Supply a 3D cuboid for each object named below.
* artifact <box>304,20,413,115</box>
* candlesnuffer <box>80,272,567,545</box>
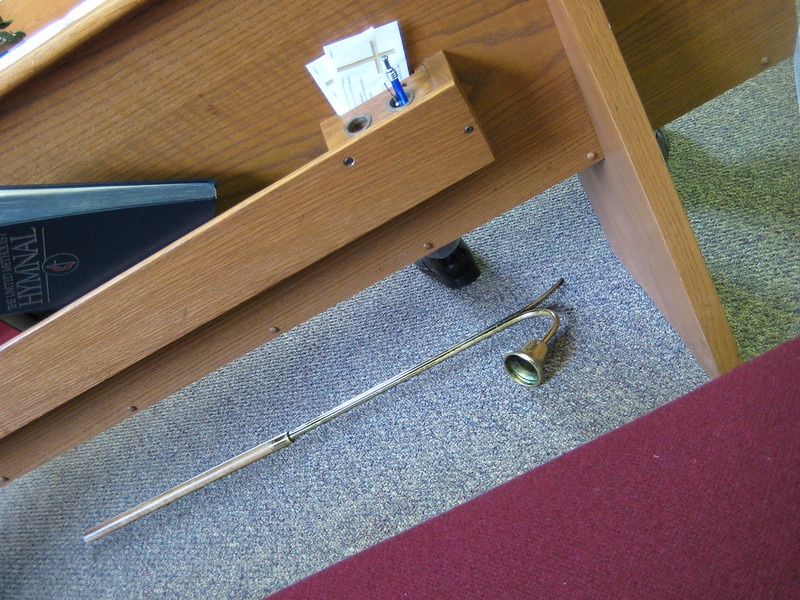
[{"bbox_3d":[-0.060,-0.367,0.986,0.172,0.101,0.066,-24,55,15],"label":"artifact"},{"bbox_3d":[-0.108,0.297,1.266,1.142,0.136,0.365,-21,26,-1],"label":"candlesnuffer"}]
